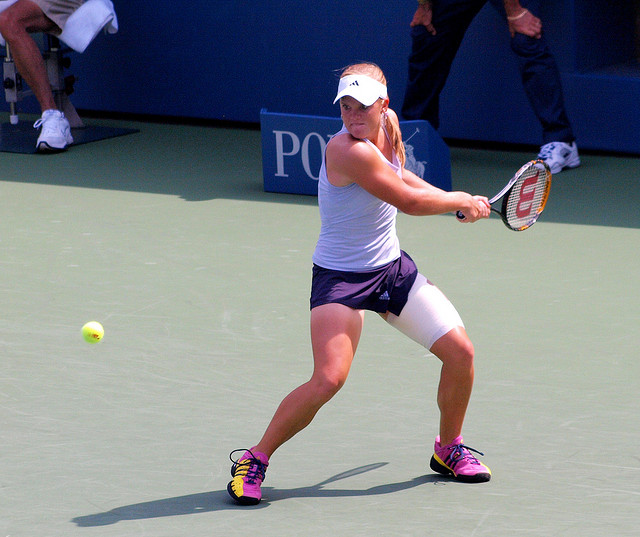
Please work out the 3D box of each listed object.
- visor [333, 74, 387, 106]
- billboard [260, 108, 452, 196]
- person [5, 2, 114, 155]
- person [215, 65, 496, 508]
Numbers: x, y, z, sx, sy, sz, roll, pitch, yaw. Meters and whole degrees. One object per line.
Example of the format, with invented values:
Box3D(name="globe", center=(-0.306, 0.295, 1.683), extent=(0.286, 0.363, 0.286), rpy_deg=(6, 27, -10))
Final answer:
Box3D(name="visor", center=(0.135, -0.569, 2.623), extent=(0.163, 0.094, 0.132), rpy_deg=(1, 15, -2))
Box3D(name="billboard", center=(0.448, -0.949, 6.562), extent=(1.838, 0.751, 0.533), rpy_deg=(-5, 5, -29))
Box3D(name="person", center=(-2.564, -1.945, 8.308), extent=(0.974, 1.441, 1.456), rpy_deg=(-2, 16, -11))
Box3D(name="person", center=(0.260, -0.111, 3.275), extent=(0.940, 1.350, 1.981), rpy_deg=(4, 15, 9))
